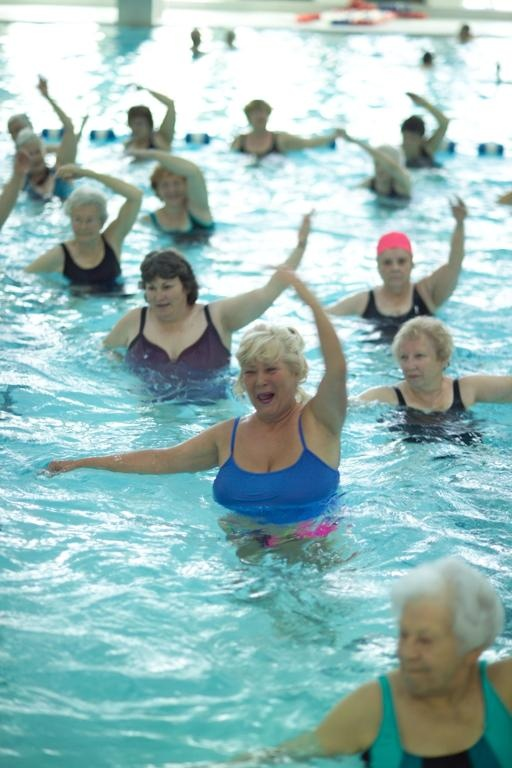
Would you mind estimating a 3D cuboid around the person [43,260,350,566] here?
[{"bbox_3d":[-0.099,0.163,3.561,1.005,1.212,0.486,1,25,12],"label":"person"}]

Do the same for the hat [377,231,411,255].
[{"bbox_3d":[1.062,-1.097,6.368,0.226,0.130,0.214,-3,7,3],"label":"hat"}]
